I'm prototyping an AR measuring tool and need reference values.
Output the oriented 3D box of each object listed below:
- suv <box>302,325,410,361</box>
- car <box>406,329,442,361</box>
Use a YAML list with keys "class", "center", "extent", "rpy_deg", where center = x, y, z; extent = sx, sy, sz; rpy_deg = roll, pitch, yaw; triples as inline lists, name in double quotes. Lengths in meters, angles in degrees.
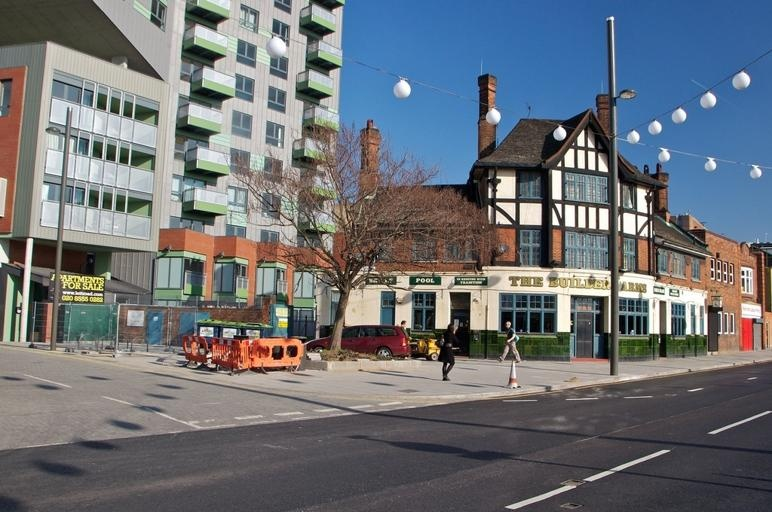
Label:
- class: "suv"
  center: [-1.451, 4.745, 42.604]
  extent: [5.740, 2.100, 2.550]
  rpy_deg: [0, -7, 12]
- class: "car"
  center: [2.197, 5.052, 44.085]
  extent: [2.075, 1.411, 1.437]
  rpy_deg: [2, -6, -1]
